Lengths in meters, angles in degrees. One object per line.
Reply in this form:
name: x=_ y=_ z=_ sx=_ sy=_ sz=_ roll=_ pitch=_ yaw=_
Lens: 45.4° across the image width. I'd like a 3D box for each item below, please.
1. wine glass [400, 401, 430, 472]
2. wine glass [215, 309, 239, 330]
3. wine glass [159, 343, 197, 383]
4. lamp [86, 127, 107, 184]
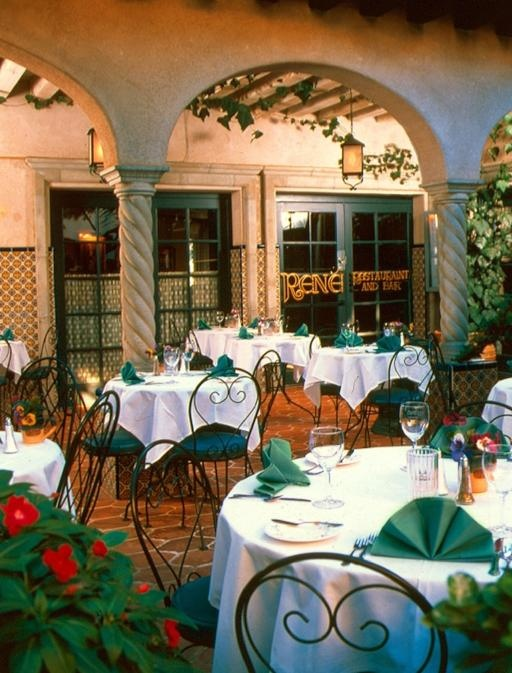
wine glass: x=0.522 y=0.327 z=2.010 sx=0.091 sy=0.244 sz=0.092 roll=-4 pitch=10 yaw=1
wine glass: x=-0.389 y=-0.225 z=8.582 sx=0.367 sy=0.385 sz=0.231 roll=2 pitch=1 yaw=20
wine glass: x=-0.518 y=0.199 z=4.482 sx=0.233 sy=0.411 sz=0.233 roll=0 pitch=0 yaw=-14
lamp: x=-1.685 y=-1.967 z=6.589 sx=0.172 sy=0.517 sz=0.161 roll=0 pitch=8 yaw=11
